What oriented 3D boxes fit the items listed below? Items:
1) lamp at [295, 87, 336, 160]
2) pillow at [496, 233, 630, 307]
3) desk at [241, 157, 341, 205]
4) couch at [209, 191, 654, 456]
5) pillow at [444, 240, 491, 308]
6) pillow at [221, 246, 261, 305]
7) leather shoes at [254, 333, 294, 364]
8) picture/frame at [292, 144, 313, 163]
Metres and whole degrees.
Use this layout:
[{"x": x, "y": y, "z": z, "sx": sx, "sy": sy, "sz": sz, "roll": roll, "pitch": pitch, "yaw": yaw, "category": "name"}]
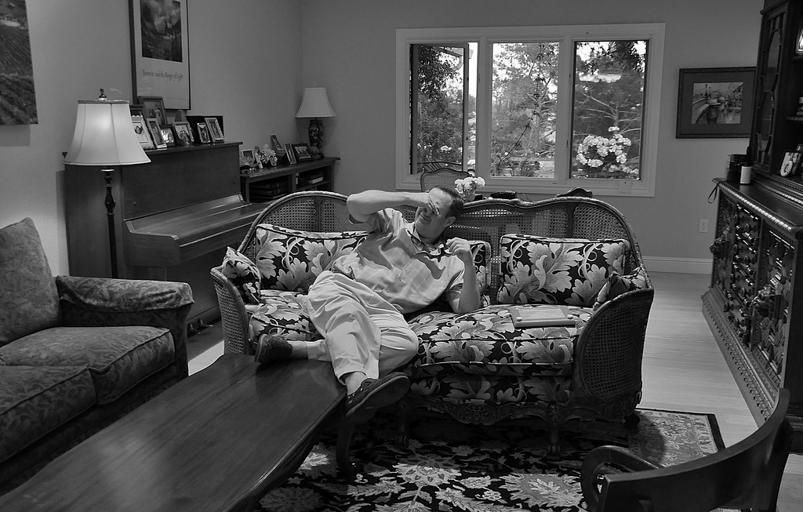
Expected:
[{"x": -1.099, "y": -1.708, "z": 6.688, "sx": 0.508, "sy": 0.842, "sz": 0.431, "roll": 1, "pitch": 15, "yaw": 1, "category": "lamp"}, {"x": 0.993, "y": 0.110, "z": 3.331, "sx": 0.780, "sy": 0.469, "sz": 0.266, "roll": 2, "pitch": 7, "yaw": 23, "category": "pillow"}, {"x": -1.293, "y": -0.731, "z": 5.998, "sx": 0.338, "sy": 0.568, "sz": 1.207, "roll": 14, "pitch": 26, "yaw": 38, "category": "desk"}, {"x": 0.140, "y": 0.311, "z": 3.368, "sx": 2.687, "sy": 1.290, "sz": 1.038, "roll": 2, "pitch": 14, "yaw": 13, "category": "couch"}, {"x": 0.406, "y": 0.111, "z": 3.157, "sx": 0.141, "sy": 0.358, "sz": 0.369, "roll": -6, "pitch": 16, "yaw": -40, "category": "pillow"}, {"x": -0.951, "y": 0.129, "z": 3.181, "sx": 0.234, "sy": 0.287, "sz": 0.405, "roll": -2, "pitch": 17, "yaw": -19, "category": "pillow"}, {"x": -0.624, "y": 0.463, "z": 2.619, "sx": 0.108, "sy": 0.086, "sz": 0.256, "roll": 10, "pitch": -5, "yaw": 9, "category": "leather shoes"}, {"x": -1.238, "y": -1.232, "z": 6.483, "sx": 0.073, "sy": 0.253, "sz": 0.286, "roll": -18, "pitch": -5, "yaw": 38, "category": "picture/frame"}]
